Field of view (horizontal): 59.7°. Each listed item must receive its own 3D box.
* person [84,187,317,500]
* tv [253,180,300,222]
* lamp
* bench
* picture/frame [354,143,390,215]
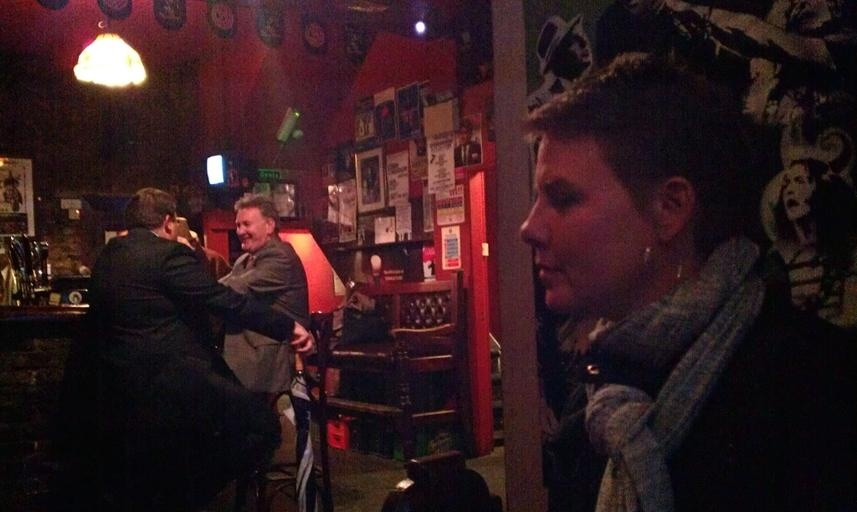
[{"bbox_3d":[-1.396,0.489,4.246,1.020,1.823,0.263,1,-10,-12],"label":"person"},{"bbox_3d":[-1.464,-0.532,7.070,0.078,0.386,0.564,-3,-2,45],"label":"tv"},{"bbox_3d":[-2.291,-1.355,5.344,0.181,0.526,0.722,-3,-10,11],"label":"lamp"},{"bbox_3d":[-0.570,0.975,7.061,0.868,1.412,2.133,-3,0,-33],"label":"bench"},{"bbox_3d":[-0.611,-0.839,8.102,0.103,0.880,0.777,2,-6,-37],"label":"picture/frame"}]
